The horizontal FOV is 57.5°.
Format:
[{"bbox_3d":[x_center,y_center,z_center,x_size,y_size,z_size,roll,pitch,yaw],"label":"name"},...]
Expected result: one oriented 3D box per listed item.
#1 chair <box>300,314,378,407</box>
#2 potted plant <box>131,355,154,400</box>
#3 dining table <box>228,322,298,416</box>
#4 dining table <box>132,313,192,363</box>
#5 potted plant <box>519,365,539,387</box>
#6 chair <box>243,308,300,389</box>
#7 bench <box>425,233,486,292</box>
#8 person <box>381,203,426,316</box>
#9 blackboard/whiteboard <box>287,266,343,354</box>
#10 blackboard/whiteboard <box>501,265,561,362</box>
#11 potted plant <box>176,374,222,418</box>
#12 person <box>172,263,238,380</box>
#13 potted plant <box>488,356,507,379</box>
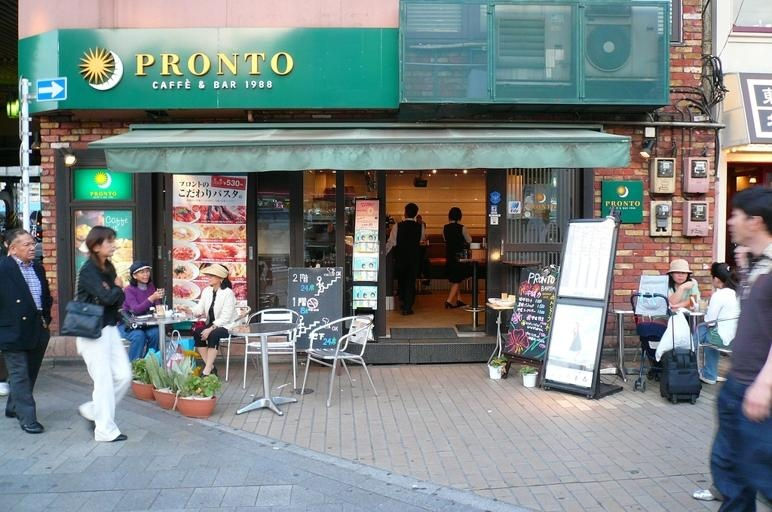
[{"bbox_3d":[-0.667,1.478,10.345,0.937,1.136,0.927,1,2,-22],"label":"chair"},{"bbox_3d":[-3.464,1.799,9.996,0.230,0.548,0.425,-6,13,-29],"label":"potted plant"},{"bbox_3d":[-1.660,1.566,9.926,1.069,1.199,1.080,-1,-2,3],"label":"dining table"},{"bbox_3d":[-3.308,1.139,10.306,0.719,0.782,0.719,3,4,28],"label":"dining table"},{"bbox_3d":[2.200,1.868,10.691,0.271,0.209,0.273,0,-5,0],"label":"potted plant"},{"bbox_3d":[-2.016,1.484,11.028,0.792,1.445,1.274,1,15,-2],"label":"chair"},{"bbox_3d":[1.553,0.217,15.799,1.508,0.950,0.618,0,-1,1],"label":"bench"},{"bbox_3d":[0.367,0.084,14.217,0.903,2.069,0.834,1,19,4],"label":"person"},{"bbox_3d":[-1.124,0.910,11.150,1.385,1.930,0.098,0,-8,-1],"label":"blackboard/whiteboard"},{"bbox_3d":[2.325,0.899,10.914,0.767,1.428,0.560,9,15,39],"label":"blackboard/whiteboard"},{"bbox_3d":[-2.531,1.936,9.606,0.586,0.464,0.534,0,-8,3],"label":"potted plant"},{"bbox_3d":[-2.775,0.986,10.896,0.631,1.719,0.935,1,1,42],"label":"person"},{"bbox_3d":[1.760,1.778,11.063,0.275,0.321,0.194,2,11,9],"label":"potted plant"}]
